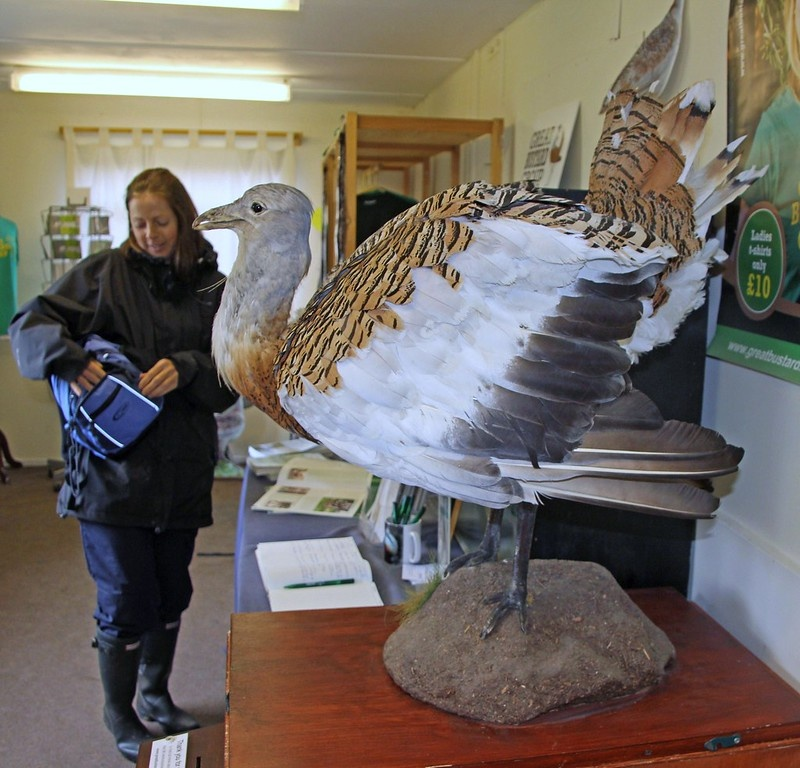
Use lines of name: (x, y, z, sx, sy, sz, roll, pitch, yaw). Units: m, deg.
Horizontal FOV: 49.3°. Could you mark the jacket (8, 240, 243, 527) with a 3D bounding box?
jacket: (-0.821, 0.004, 2.562, 0.668, 0.849, 0.484, -5, 28, -30)
